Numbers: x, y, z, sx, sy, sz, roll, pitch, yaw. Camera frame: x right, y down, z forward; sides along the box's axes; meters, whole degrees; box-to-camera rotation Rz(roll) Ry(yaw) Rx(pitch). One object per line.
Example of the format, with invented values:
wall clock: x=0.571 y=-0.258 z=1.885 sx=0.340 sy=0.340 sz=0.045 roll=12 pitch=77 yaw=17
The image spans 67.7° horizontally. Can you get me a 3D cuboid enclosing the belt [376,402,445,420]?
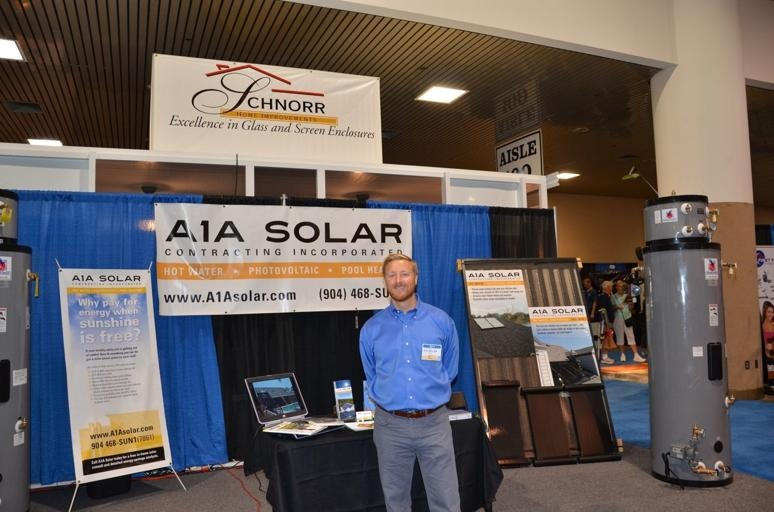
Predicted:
belt: x=0.178 y=1.240 z=4.594 sx=0.529 sy=0.097 sz=0.104 roll=-4 pitch=-3 yaw=6

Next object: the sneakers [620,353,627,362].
sneakers: x=4.657 y=2.007 z=11.424 sx=0.143 sy=0.168 sz=0.431 roll=-4 pitch=-12 yaw=14

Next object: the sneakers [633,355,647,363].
sneakers: x=4.873 y=1.961 z=11.191 sx=0.202 sy=0.122 sz=0.300 roll=-5 pitch=-3 yaw=14

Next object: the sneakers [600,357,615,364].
sneakers: x=4.342 y=2.066 z=11.412 sx=0.270 sy=0.123 sz=0.124 roll=-2 pitch=-3 yaw=31
